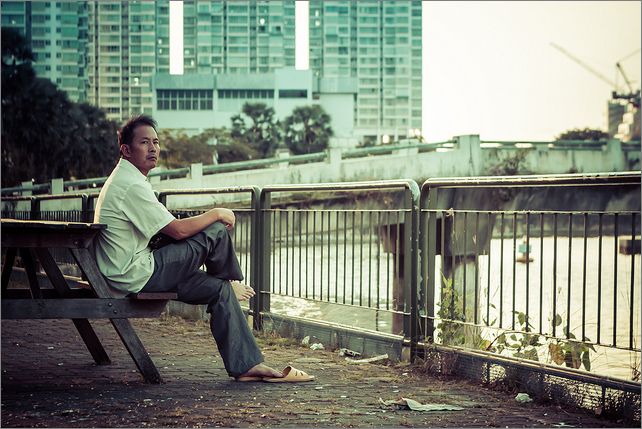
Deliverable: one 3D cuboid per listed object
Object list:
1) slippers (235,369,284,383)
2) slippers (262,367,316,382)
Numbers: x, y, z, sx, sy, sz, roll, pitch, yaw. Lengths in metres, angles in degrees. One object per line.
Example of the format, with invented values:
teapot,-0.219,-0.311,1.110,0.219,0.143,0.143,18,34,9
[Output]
slippers,-0.848,2.129,14.130,0.557,0.149,0.235,-4,0,-5
slippers,-0.452,2.191,14.181,0.618,0.207,0.255,-2,1,-8
